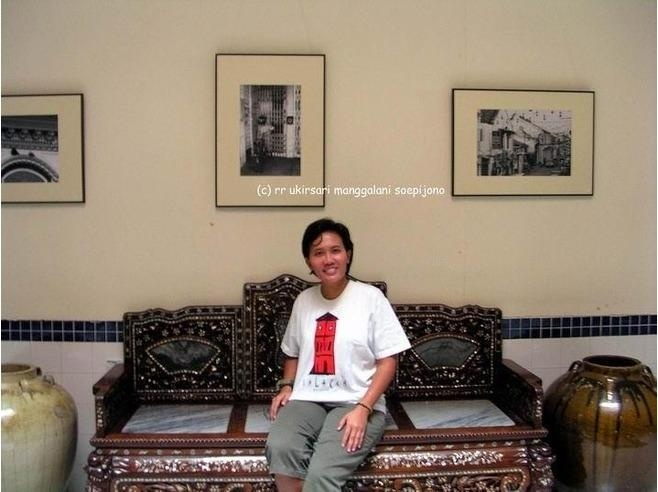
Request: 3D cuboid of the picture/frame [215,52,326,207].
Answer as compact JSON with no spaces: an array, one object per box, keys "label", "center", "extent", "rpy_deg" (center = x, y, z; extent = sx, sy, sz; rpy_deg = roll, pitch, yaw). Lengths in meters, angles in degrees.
[{"label":"picture/frame","center":[-0.422,-0.828,4.185],"extent":[0.878,1.329,0.041],"rpy_deg":[0,4,1]}]
